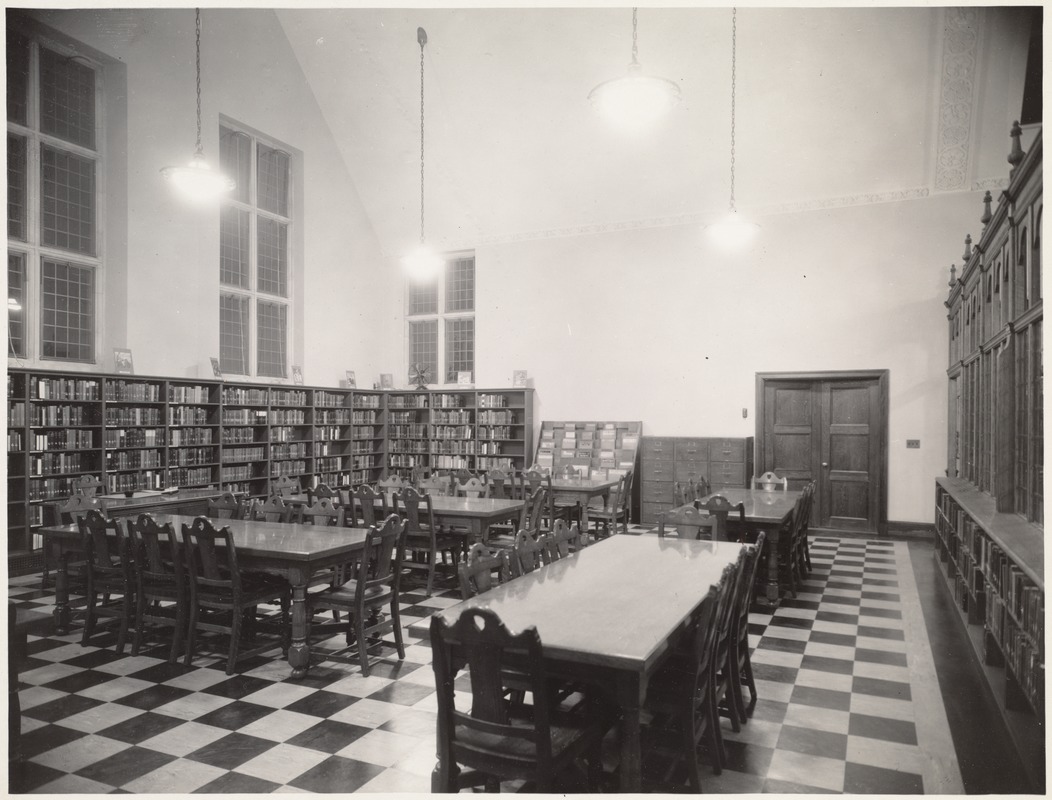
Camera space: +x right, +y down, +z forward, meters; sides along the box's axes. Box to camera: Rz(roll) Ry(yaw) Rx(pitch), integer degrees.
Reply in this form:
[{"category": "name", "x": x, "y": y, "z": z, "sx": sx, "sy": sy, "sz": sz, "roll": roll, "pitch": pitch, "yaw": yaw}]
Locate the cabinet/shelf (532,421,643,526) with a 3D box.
[{"category": "cabinet/shelf", "x": 1.023, "y": 1.225, "z": 13.171, "sx": 1.684, "sy": 1.795, "sz": 0.674, "roll": -1, "pitch": -10, "yaw": 19}]
